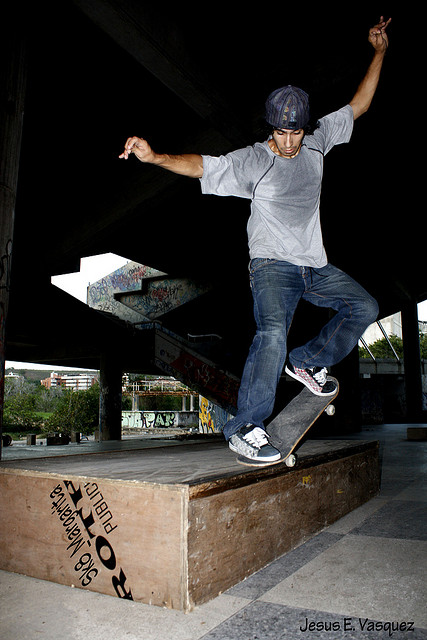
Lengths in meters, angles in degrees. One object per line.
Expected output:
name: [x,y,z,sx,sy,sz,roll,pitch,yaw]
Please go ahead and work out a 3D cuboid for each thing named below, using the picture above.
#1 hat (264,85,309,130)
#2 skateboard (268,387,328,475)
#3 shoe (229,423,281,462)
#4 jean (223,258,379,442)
hat: [0.371,-1.089,2.390,0.204,0.195,0.310,-2,34,-3]
skateboard: [0.418,0.599,2.575,0.168,0.118,0.744,-11,10,24]
shoe: [0.189,0.590,2.270,0.093,0.122,0.280,-3,-4,-28]
jean: [0.449,0.165,2.660,0.783,0.994,0.405,14,-2,-33]
